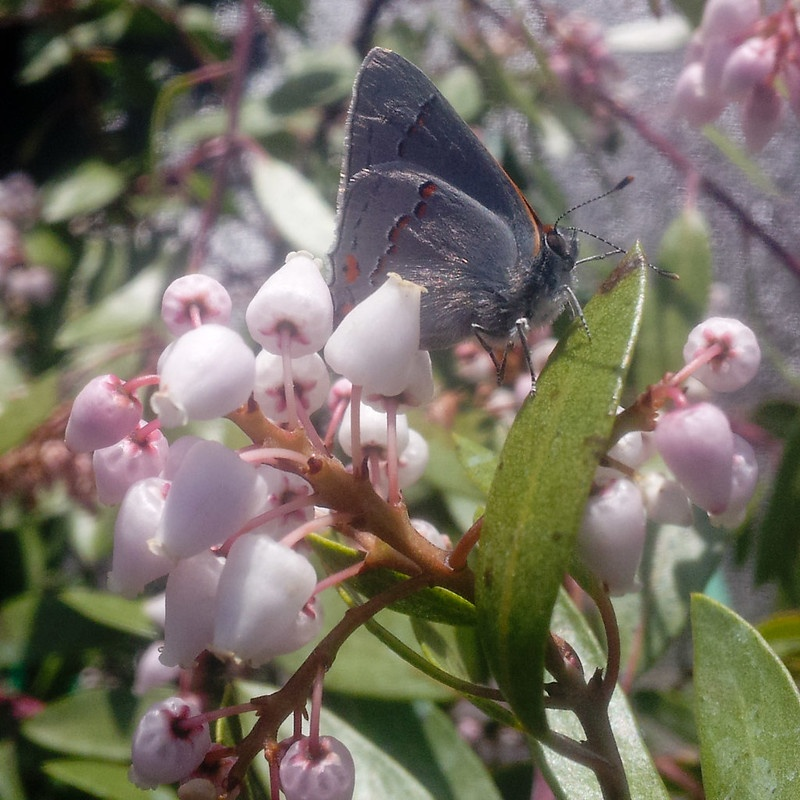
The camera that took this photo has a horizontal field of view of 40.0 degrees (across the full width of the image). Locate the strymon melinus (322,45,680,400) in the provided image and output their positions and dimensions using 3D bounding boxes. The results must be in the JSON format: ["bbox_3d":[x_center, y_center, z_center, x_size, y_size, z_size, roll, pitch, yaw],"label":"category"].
[{"bbox_3d":[0.081,-0.216,1.498,0.453,0.376,0.432,-5,-2,-14],"label":"strymon melinus"}]
